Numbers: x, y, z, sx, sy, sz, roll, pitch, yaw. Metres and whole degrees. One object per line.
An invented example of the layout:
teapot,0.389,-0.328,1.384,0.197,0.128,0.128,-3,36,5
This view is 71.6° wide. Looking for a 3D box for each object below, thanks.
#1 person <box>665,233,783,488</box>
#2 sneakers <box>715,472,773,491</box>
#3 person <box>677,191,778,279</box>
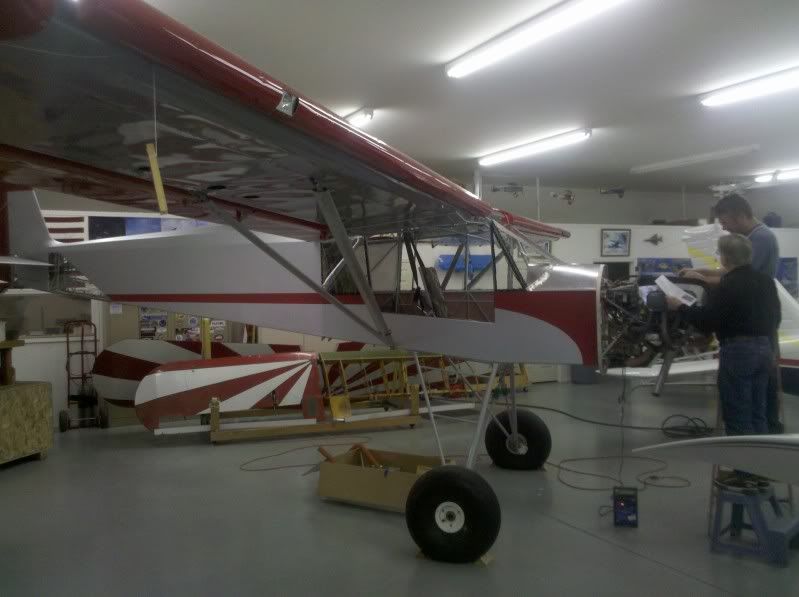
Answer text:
person,2.337,0.258,3.863,0.789,1.402,0.367,-4,6,-30
sneakers,2.268,1.200,3.669,0.308,0.078,0.228,2,6,35
person,2.714,-0.316,4.567,0.595,1.021,0.574,2,15,18
